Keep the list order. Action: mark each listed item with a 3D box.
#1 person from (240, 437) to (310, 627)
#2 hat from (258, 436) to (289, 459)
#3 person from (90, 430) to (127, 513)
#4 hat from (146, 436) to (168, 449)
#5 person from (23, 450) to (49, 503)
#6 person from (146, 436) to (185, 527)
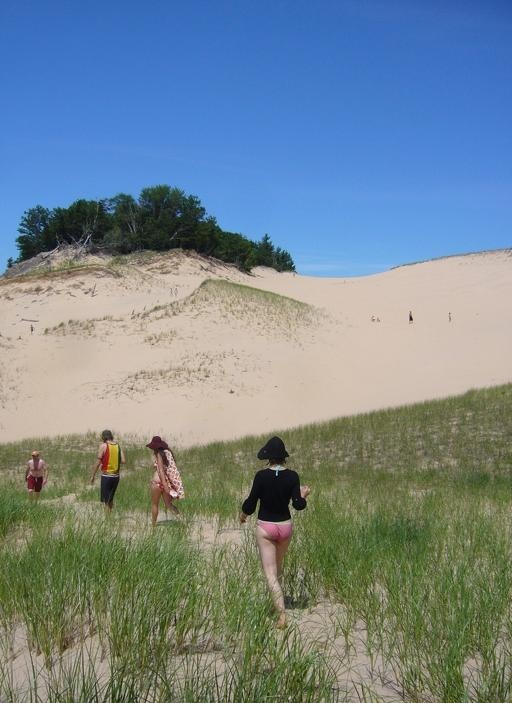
[{"bbox_3d":[0.147,1.500,6.622,0.589,1.486,0.927,0,3,4],"label":"person"},{"bbox_3d":[0.150,0.868,6.832,0.183,0.180,0.226,0,3,-7],"label":"hat"},{"bbox_3d":[-2.256,1.820,11.745,0.464,1.355,1.550,0,3,-13],"label":"person"},{"bbox_3d":[-1.349,1.248,10.519,0.238,0.200,0.355,-2,1,-7],"label":"hat"},{"bbox_3d":[-3.871,2.224,13.453,0.293,1.020,0.283,3,13,-12],"label":"person"},{"bbox_3d":[-1.231,1.750,10.363,0.447,1.197,0.760,0,3,-10],"label":"person"}]
